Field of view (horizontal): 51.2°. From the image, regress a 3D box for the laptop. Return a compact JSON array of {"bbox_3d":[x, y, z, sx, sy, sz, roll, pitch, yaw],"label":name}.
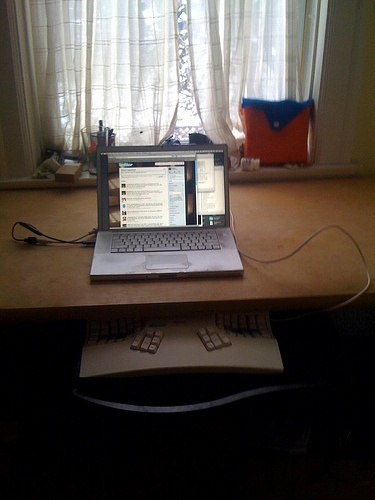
[{"bbox_3d":[-0.056,-0.118,0.950,0.337,0.250,0.338,-2,20,-7],"label":"laptop"}]
